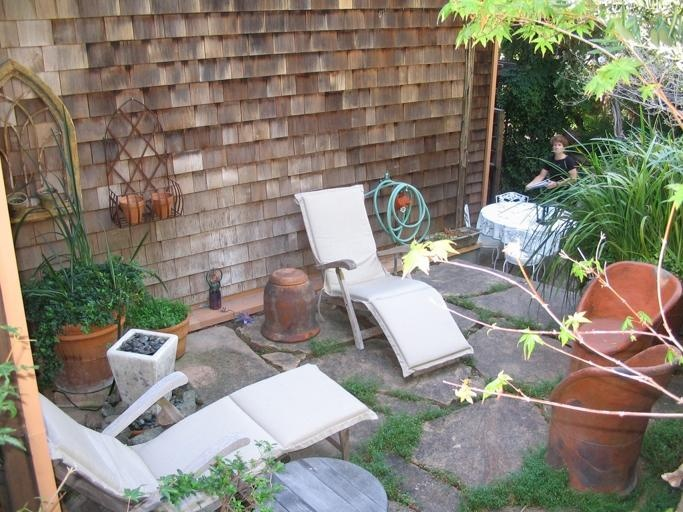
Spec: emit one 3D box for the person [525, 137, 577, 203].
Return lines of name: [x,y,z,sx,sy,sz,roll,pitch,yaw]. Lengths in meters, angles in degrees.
person: [2.852,-1.232,6.849,0.924,0.706,0.547,-22,23,-20]

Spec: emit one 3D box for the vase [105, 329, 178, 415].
vase: [-1.345,0.784,3.332,0.347,0.500,0.337,14,28,13]

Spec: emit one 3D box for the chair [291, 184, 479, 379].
chair: [0.509,0.121,4.701,1.053,1.455,1.938,-13,26,-32]

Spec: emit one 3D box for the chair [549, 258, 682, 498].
chair: [1.670,0.761,2.965,0.560,0.773,1.055,7,40,25]

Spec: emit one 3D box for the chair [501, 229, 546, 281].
chair: [1.830,-0.029,4.964,0.393,0.472,0.344,-19,36,-34]

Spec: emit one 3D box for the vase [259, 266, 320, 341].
vase: [-0.428,0.423,4.575,0.537,0.566,0.564,4,20,6]

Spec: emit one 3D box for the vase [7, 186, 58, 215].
vase: [-2.375,-0.426,3.796,0.320,0.135,0.229,-7,33,-3]
